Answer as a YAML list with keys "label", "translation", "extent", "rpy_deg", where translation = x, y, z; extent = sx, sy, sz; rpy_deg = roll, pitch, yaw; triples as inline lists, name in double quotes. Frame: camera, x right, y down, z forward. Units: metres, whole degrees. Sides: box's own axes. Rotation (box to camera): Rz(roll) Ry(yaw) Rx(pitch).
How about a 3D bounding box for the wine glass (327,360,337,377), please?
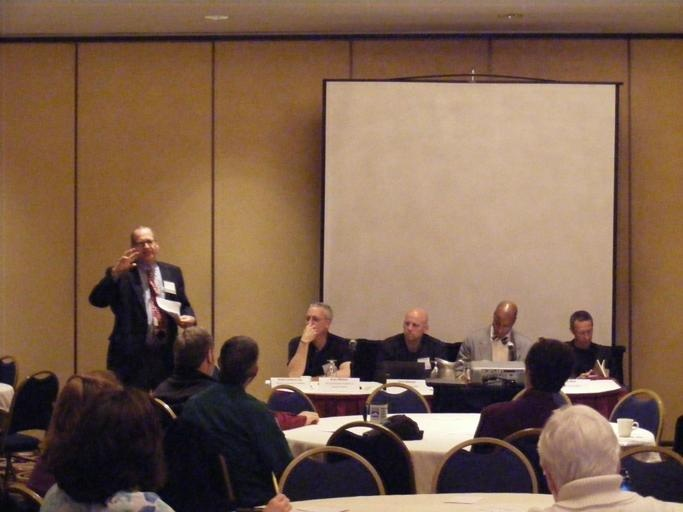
- label: "wine glass"
  translation: [-0.062, 0.968, 6.764]
  extent: [0.094, 0.180, 0.102]
  rpy_deg: [-1, -1, 12]

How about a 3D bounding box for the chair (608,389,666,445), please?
- label: "chair"
  translation: [2.276, 1.199, 6.037]
  extent: [0.361, 0.461, 0.474]
  rpy_deg: [1, -8, 0]

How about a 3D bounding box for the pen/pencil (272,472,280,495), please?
- label: "pen/pencil"
  translation: [-0.367, 1.293, 4.497]
  extent: [0.016, 0.137, 0.013]
  rpy_deg: [-7, 8, 20]

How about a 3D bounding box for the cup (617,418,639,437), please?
- label: "cup"
  translation: [1.909, 1.144, 5.277]
  extent: [0.139, 0.119, 0.103]
  rpy_deg: [1, -9, -1]

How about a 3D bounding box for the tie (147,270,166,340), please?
- label: "tie"
  translation: [-1.484, 0.400, 6.429]
  extent: [0.106, 0.569, 0.126]
  rpy_deg: [-6, -10, -20]

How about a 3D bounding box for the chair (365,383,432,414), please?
- label: "chair"
  translation: [0.438, 1.084, 6.022]
  extent: [0.472, 0.213, 0.284]
  rpy_deg: [3, -1, 1]

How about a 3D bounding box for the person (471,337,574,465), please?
- label: "person"
  translation: [1.109, 0.906, 4.856]
  extent: [0.425, 0.790, 0.243]
  rpy_deg: [15, 7, 0]

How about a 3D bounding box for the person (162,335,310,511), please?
- label: "person"
  translation: [-0.598, 0.945, 4.540]
  extent: [0.662, 0.989, 0.289]
  rpy_deg: [3, -1, 9]

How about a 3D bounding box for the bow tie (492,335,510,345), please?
- label: "bow tie"
  translation: [1.475, 0.769, 7.278]
  extent: [0.082, 0.090, 0.029]
  rpy_deg: [-24, 8, 16]

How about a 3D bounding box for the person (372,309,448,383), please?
- label: "person"
  translation: [0.623, 0.950, 7.283]
  extent: [0.666, 0.924, 0.488]
  rpy_deg: [5, 0, 1]
